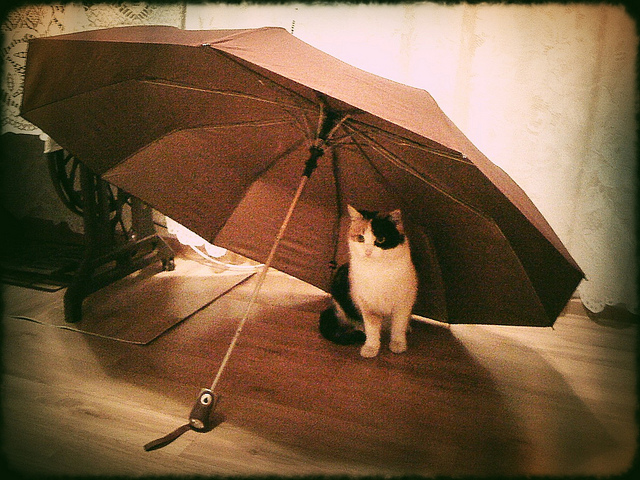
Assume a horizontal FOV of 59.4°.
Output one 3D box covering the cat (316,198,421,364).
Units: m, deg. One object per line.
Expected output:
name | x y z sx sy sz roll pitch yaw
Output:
cat | 0.244 0.170 2.715 0.479 0.703 0.607 -3 12 -14

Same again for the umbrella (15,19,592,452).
umbrella | -0.069 -0.212 2.414 2.183 1.294 0.537 9 35 12
